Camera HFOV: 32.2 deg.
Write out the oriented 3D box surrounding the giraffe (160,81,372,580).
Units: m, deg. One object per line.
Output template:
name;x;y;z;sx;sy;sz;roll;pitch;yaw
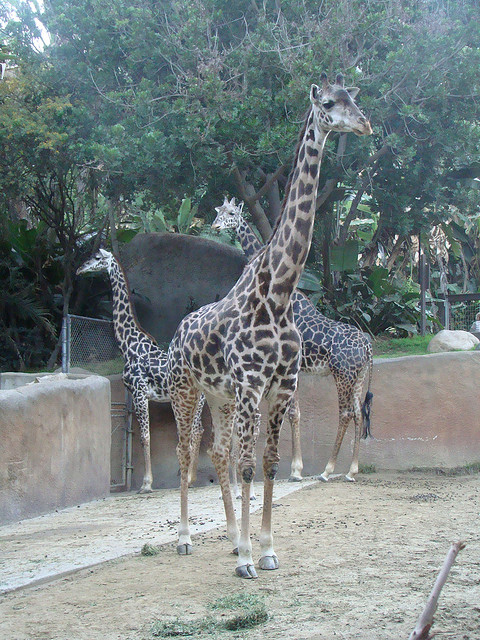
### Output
giraffe;0.038;0.151;6.784;1.265;3.362;3.724;-1;-1;-5
